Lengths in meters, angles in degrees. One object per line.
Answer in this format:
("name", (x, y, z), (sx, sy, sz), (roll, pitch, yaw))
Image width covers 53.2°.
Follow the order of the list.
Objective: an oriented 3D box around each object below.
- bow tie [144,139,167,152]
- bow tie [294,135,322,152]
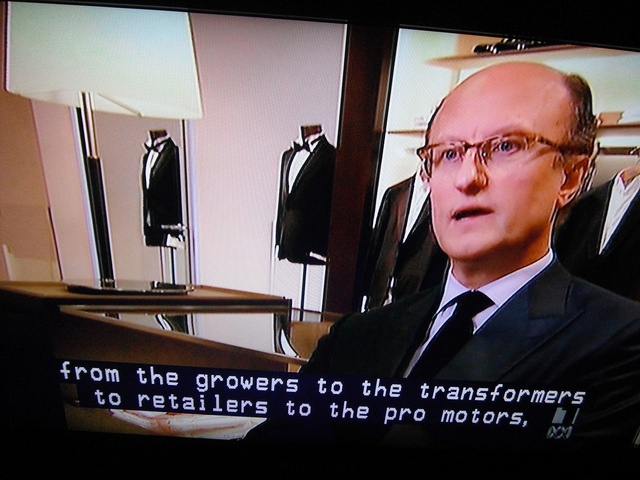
("bow tie", (-0.563, -0.327, 2.199), (0.047, 0.030, 0.056), (-5, 15, -19))
("bow tie", (-0.042, -0.331, 2.193), (0.055, 0.036, 0.076), (2, 12, 12))
